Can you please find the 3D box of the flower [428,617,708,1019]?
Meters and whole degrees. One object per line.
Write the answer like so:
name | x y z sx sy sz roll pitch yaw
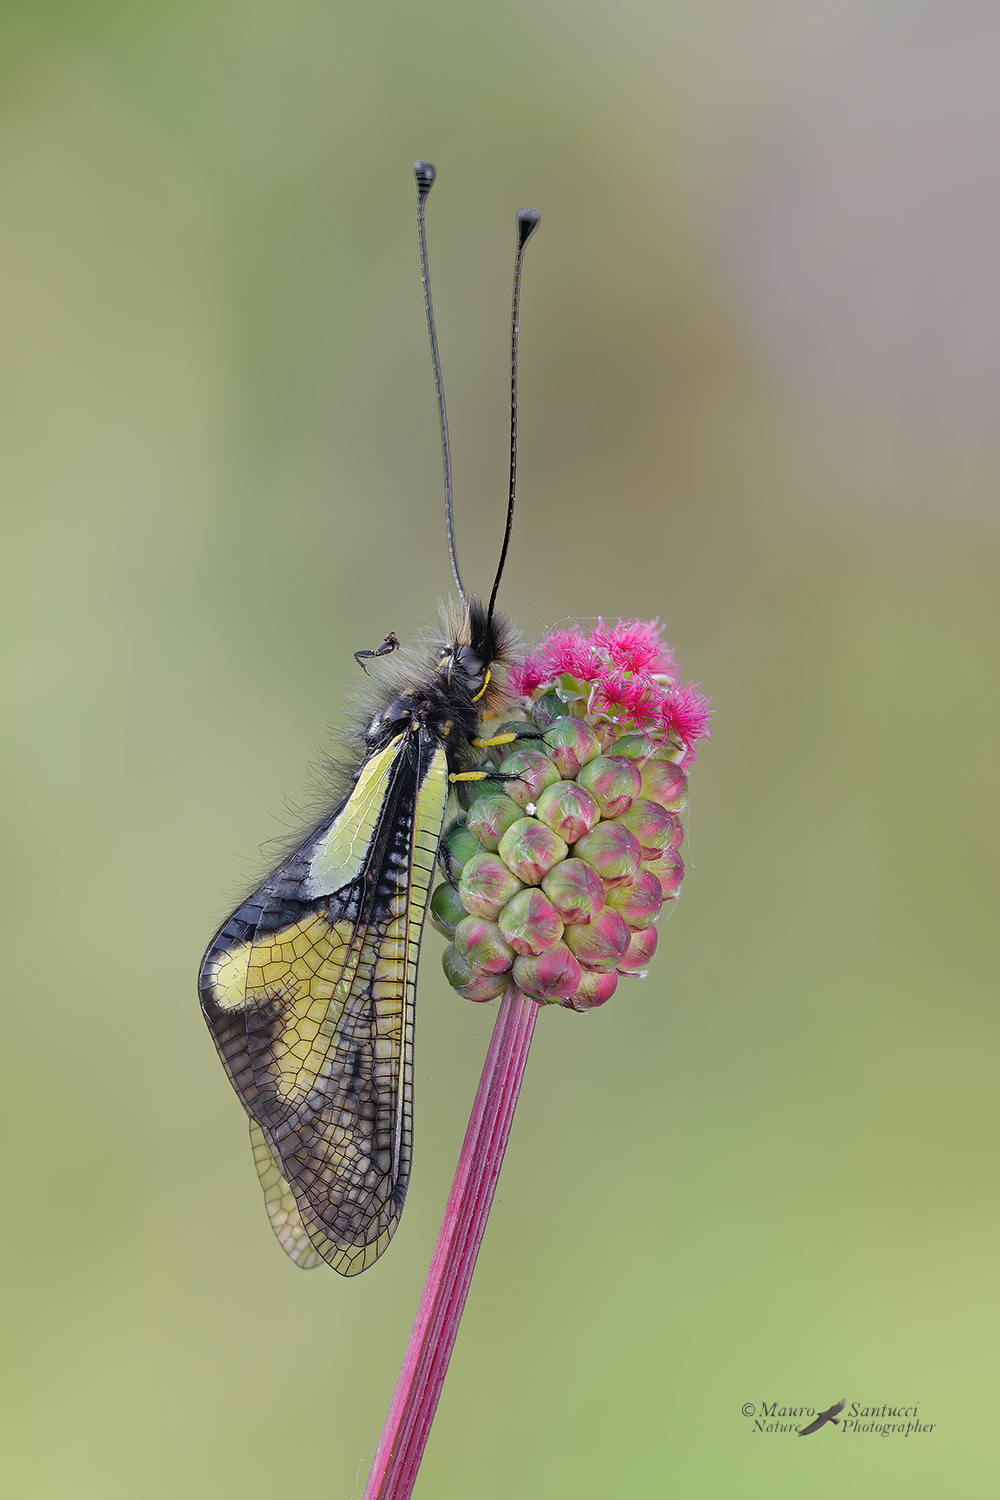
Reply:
flower | 0.131 0.064 2.564 0.332 0.676 0.306 0 -43 13
